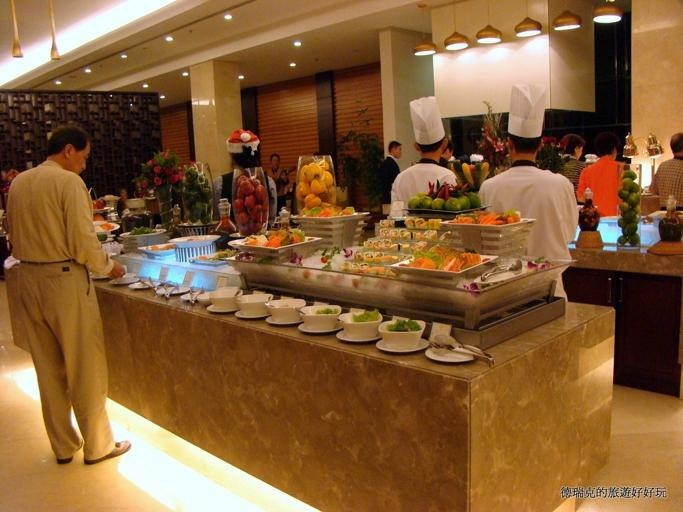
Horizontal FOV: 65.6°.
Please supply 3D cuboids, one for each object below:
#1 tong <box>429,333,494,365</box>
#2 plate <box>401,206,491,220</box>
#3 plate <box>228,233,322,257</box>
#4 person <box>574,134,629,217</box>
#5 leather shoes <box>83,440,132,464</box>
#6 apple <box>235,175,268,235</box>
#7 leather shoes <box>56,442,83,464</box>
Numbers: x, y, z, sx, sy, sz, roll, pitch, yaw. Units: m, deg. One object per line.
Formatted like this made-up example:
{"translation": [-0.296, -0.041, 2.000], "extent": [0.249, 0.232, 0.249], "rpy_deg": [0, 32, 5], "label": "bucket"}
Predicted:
{"translation": [0.408, 0.334, 1.843], "extent": [0.193, 0.034, 0.089], "rpy_deg": [16, 53, 39], "label": "tong"}
{"translation": [0.503, -0.216, 2.557], "extent": [0.247, 0.058, 0.316], "rpy_deg": [-16, 13, -41], "label": "plate"}
{"translation": [-0.316, -0.082, 2.569], "extent": [0.335, 0.103, 0.304], "rpy_deg": [7, 12, 39], "label": "plate"}
{"translation": [2.342, -0.461, 4.759], "extent": [0.399, 1.230, 0.366], "rpy_deg": [-2, 14, 15], "label": "person"}
{"translation": [-1.382, 1.150, 3.119], "extent": [0.238, 0.097, 0.093], "rpy_deg": [-14, 20, -43], "label": "leather shoes"}
{"translation": [-0.500, -0.281, 2.926], "extent": [0.191, 0.332, 0.111], "rpy_deg": [-8, 9, -10], "label": "apple"}
{"translation": [-1.628, 1.179, 3.169], "extent": [0.049, 0.064, 0.149], "rpy_deg": [3, 10, 8], "label": "leather shoes"}
